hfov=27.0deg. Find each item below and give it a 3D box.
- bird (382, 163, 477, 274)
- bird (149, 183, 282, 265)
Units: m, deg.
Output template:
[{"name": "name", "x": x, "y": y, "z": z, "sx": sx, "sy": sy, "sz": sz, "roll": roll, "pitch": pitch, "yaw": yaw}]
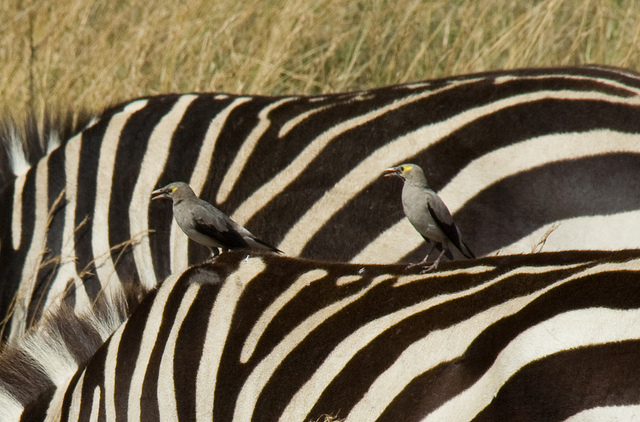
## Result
[{"name": "bird", "x": 0.656, "y": 0.003, "z": 6.644, "sx": 0.557, "sy": 0.275, "sz": 0.613, "roll": 5, "pitch": 79, "yaw": -19}, {"name": "bird", "x": -0.543, "y": 0.070, "z": 6.958, "sx": 0.648, "sy": 0.245, "sz": 0.430, "roll": 0, "pitch": 92, "yaw": -12}]
